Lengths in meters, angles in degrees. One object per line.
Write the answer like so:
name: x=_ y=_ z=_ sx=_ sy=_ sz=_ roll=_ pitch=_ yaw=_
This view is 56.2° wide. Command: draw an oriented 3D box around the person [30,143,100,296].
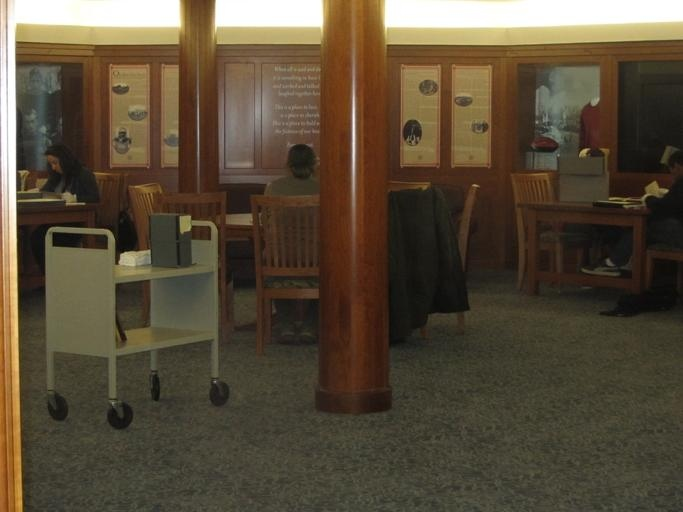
person: x=-3.159 y=-0.514 z=7.275 sx=0.739 sy=1.452 sz=0.680 roll=-6 pitch=3 yaw=-40

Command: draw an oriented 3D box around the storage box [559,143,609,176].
storage box: x=2.713 y=-1.029 z=7.129 sx=0.554 sy=0.279 sz=0.618 roll=3 pitch=7 yaw=27

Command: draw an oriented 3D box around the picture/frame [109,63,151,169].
picture/frame: x=-2.891 y=-1.907 z=8.714 sx=0.607 sy=1.468 sz=0.117 roll=-2 pitch=-7 yaw=3

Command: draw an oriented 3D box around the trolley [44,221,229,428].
trolley: x=-1.233 y=0.402 z=3.711 sx=0.626 sy=1.067 sz=0.880 roll=-4 pitch=-2 yaw=36

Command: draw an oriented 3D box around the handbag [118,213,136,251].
handbag: x=-2.628 y=-0.297 z=7.740 sx=0.110 sy=0.427 sz=0.288 roll=6 pitch=-12 yaw=-37

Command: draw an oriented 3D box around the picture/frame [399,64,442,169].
picture/frame: x=1.080 y=-1.878 z=8.564 sx=0.613 sy=1.474 sz=0.127 roll=4 pitch=26 yaw=11

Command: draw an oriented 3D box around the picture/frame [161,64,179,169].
picture/frame: x=-2.332 y=-1.877 z=8.697 sx=0.115 sy=1.474 sz=0.352 roll=16 pitch=17 yaw=43

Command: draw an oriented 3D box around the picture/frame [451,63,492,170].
picture/frame: x=1.741 y=-1.870 z=8.508 sx=0.509 sy=1.312 sz=0.113 roll=0 pitch=7 yaw=-1
